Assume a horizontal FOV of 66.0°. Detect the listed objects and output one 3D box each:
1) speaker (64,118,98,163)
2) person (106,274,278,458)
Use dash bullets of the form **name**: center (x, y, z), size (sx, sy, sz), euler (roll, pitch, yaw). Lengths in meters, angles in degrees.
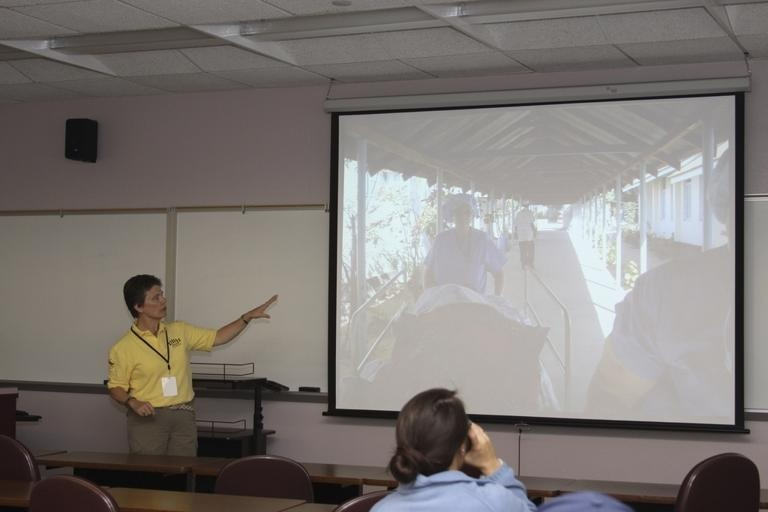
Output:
- **speaker**: center (-2.890, -1.111, 5.657), size (0.408, 0.388, 0.389), euler (1, 1, -34)
- **person**: center (-1.659, 0.846, 4.683), size (0.867, 1.372, 0.381), euler (5, -5, -42)
